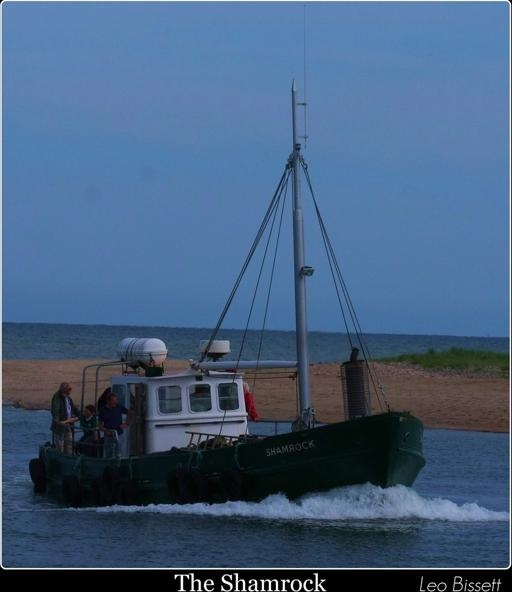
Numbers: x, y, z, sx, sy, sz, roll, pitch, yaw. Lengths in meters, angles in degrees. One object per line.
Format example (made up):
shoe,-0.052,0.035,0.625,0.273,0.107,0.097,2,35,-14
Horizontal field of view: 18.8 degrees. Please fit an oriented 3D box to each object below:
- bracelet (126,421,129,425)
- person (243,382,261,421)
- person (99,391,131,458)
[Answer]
bracelet,-2.450,2.371,29.439,0.044,0.078,0.020,1,0,-27
person,-0.161,2.087,30.306,0.217,0.941,0.216,-14,5,25
person,-2.732,2.562,29.770,0.513,1.874,0.510,-15,43,-19
